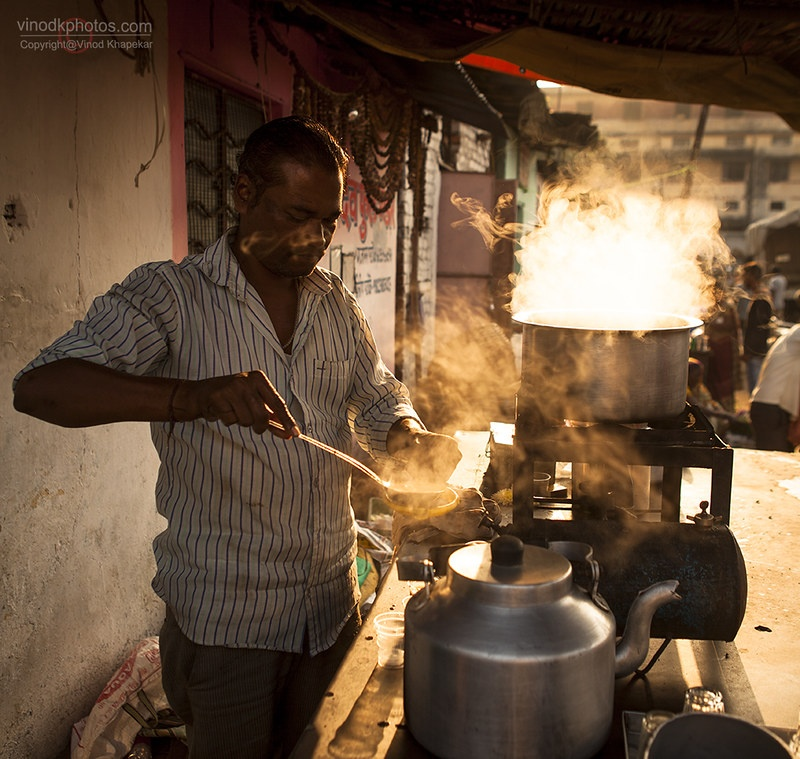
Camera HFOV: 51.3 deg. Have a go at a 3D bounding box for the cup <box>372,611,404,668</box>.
[{"bbox_3d":[-0.008,0.737,2.319,0.124,0.142,0.134,-1,-25,0],"label":"cup"}]

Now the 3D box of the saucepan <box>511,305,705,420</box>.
[{"bbox_3d":[0.616,-0.024,2.512,0.395,0.211,0.410,1,5,19],"label":"saucepan"}]
